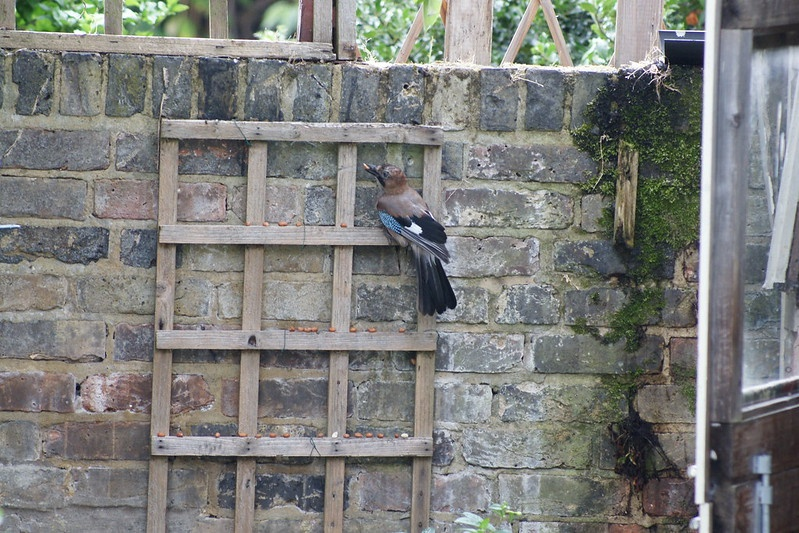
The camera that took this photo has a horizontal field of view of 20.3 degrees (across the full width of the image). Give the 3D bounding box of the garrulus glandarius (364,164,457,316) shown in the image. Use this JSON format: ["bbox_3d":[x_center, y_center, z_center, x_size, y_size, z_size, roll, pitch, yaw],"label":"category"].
[{"bbox_3d":[0.036,-0.143,13.049,0.237,0.785,0.326,-33,3,-40],"label":"garrulus glandarius"}]
